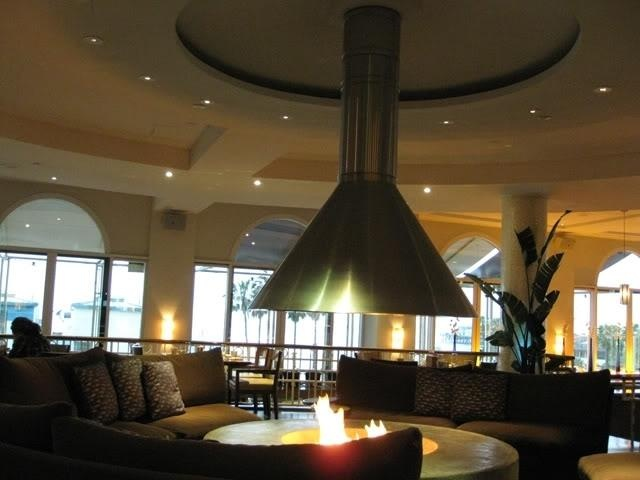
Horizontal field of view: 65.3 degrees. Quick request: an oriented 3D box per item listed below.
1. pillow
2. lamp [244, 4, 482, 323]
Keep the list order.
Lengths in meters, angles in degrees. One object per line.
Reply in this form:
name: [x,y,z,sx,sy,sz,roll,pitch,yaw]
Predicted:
pillow: [1.478,1.644,5.391,0.739,0.523,0.204,-3,-18,27]
lamp: [0.363,-0.520,4.421,1.933,2.340,1.892,2,-9,-5]
